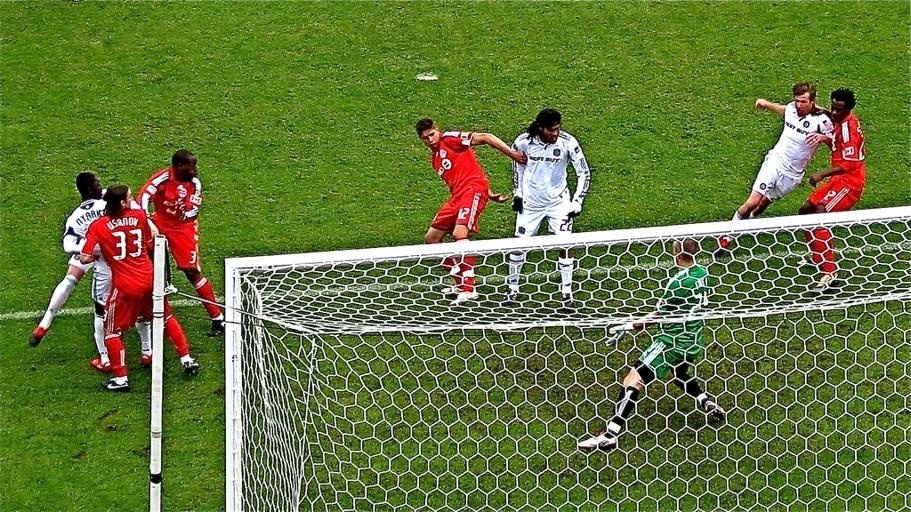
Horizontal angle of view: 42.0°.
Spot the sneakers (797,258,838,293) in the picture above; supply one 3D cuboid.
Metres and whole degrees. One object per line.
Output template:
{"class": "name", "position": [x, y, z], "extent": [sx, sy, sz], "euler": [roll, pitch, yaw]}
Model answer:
{"class": "sneakers", "position": [4.426, 0.247, 14.387], "extent": [0.214, 0.230, 0.566], "euler": [-5, 26, 7]}

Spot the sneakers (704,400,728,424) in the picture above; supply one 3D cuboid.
{"class": "sneakers", "position": [2.924, 1.772, 13.384], "extent": [0.317, 0.122, 0.203], "euler": [28, -15, -19]}

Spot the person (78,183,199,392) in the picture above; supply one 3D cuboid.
{"class": "person", "position": [-3.872, 0.372, 13.689], "extent": [0.830, 2.291, 1.014], "euler": [-4, 35, -16]}

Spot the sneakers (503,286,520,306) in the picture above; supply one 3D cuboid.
{"class": "sneakers", "position": [0.670, 0.479, 14.428], "extent": [0.190, 0.178, 0.291], "euler": [8, 30, 3]}

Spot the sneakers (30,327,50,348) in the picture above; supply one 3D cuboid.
{"class": "sneakers", "position": [-4.978, 0.964, 14.075], "extent": [0.159, 0.286, 0.122], "euler": [25, -10, -12]}

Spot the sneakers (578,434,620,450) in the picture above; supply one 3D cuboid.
{"class": "sneakers", "position": [1.600, 2.081, 13.138], "extent": [0.545, 0.164, 0.177], "euler": [0, 5, 8]}

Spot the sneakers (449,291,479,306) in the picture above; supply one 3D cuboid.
{"class": "sneakers", "position": [0.126, 0.496, 14.099], "extent": [0.424, 0.156, 0.144], "euler": [-16, -25, 35]}

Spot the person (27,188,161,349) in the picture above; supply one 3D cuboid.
{"class": "person", "position": [-4.478, -0.003, 14.014], "extent": [1.325, 1.967, 0.638], "euler": [22, 34, 29]}

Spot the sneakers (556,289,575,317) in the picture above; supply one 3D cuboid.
{"class": "sneakers", "position": [1.337, 0.571, 14.122], "extent": [0.209, 0.205, 0.401], "euler": [10, 30, 5]}
